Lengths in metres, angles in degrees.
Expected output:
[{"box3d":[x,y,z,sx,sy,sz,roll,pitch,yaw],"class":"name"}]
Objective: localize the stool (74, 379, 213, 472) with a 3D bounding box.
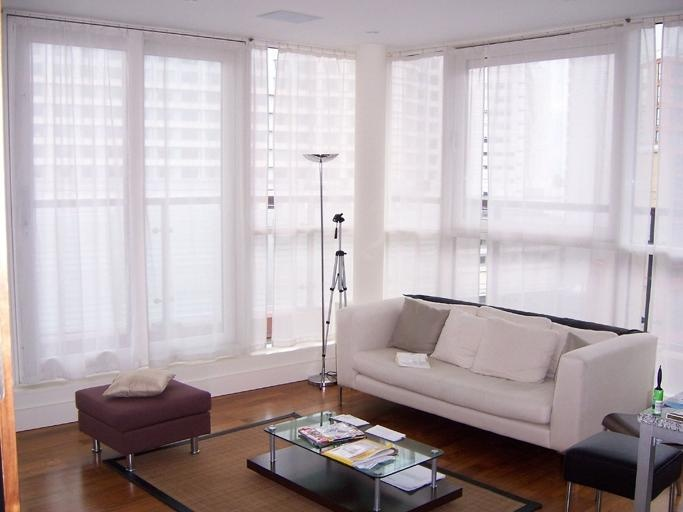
[{"box3d":[-1.569,1.199,4.180,0.713,0.453,0.695,-3,4,-42],"class":"stool"}]
